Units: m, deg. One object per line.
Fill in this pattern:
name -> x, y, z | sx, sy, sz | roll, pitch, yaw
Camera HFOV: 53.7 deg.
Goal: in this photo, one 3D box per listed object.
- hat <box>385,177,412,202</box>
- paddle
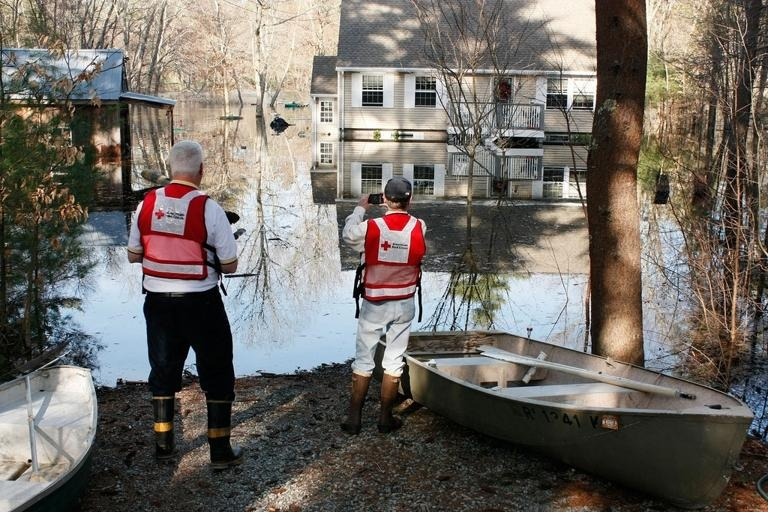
hat -> 0.180, -0.875, 10.000 | 0.356, 0.318, 0.189 | -3, 11, -2
paddle -> 2.504, 1.560, 10.244 | 2.067, 0.339, 0.099 | 13, 29, 36
